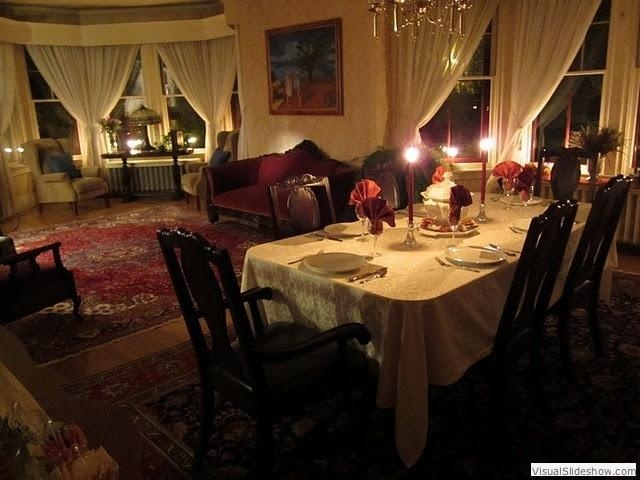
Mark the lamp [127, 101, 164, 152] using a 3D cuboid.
[{"bbox_3d":[-3.193,-2.027,8.125,0.532,0.778,0.705,-9,16,-22],"label":"lamp"}]

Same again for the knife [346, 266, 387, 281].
[{"bbox_3d":[0.223,0.155,2.009,0.217,0.012,0.064,-19,42,-42],"label":"knife"}]

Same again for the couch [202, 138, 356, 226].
[{"bbox_3d":[-0.549,-0.632,5.533,1.034,1.142,2.092,-12,19,-42],"label":"couch"}]

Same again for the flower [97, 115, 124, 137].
[{"bbox_3d":[-3.828,-2.098,8.170,0.389,0.330,0.509,-9,16,-22],"label":"flower"}]

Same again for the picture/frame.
[{"bbox_3d":[-0.156,-2.158,5.436,1.257,1.089,0.056,15,27,40],"label":"picture/frame"}]

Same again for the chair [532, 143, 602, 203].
[{"bbox_3d":[2.084,-0.392,3.720,0.424,0.767,0.420,10,17,42],"label":"chair"}]

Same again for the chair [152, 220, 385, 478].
[{"bbox_3d":[-0.231,0.456,1.963,0.822,1.130,0.605,9,19,38],"label":"chair"}]

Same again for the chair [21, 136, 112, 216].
[{"bbox_3d":[-4.153,-1.071,7.291,0.953,1.134,0.851,2,15,14],"label":"chair"}]
